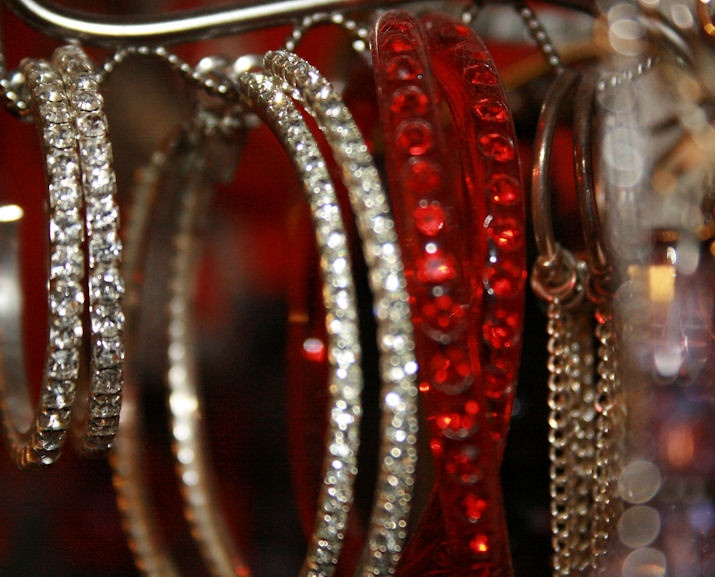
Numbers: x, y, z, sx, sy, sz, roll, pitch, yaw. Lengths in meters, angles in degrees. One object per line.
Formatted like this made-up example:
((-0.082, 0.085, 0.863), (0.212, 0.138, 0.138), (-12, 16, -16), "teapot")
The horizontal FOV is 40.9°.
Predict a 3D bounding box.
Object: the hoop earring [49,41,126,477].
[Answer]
((-0.228, -0.032, 0.823), (0.032, 0.349, 0.102), (-4, 9, -25), "hoop earring")
